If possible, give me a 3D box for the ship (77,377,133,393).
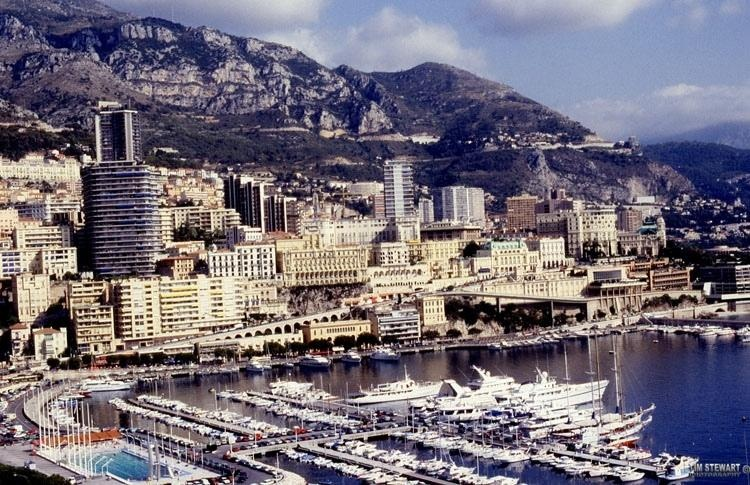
[{"bbox_3d":[-42.392,23.225,246.231,8.587,2.044,2.885,0,6,-6],"label":"ship"}]

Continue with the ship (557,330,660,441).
[{"bbox_3d":[35.719,22.492,237.116,12.383,12.966,9.656,2,0,-34],"label":"ship"}]
